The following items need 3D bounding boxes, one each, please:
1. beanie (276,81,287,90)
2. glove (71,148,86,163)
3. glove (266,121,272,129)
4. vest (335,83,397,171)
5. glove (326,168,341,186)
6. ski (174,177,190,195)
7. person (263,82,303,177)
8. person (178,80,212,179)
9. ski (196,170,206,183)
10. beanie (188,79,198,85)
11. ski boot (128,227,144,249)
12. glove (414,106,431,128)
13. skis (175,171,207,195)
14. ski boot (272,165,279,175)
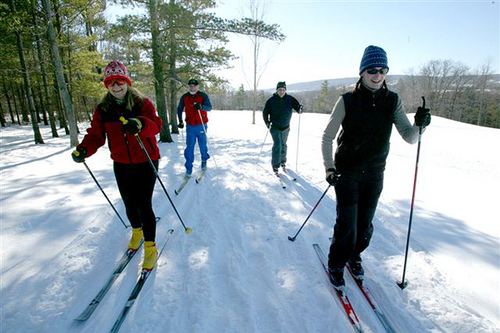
[{"bbox_3d":[1.014,-2.546,10.396,0.281,0.260,0.757,2,19,3],"label":"beanie"},{"bbox_3d":[-3.699,-0.229,7.120,0.275,0.365,0.310,-12,22,-33],"label":"glove"},{"bbox_3d":[0.622,-1.320,10.652,0.185,0.255,0.214,1,18,0],"label":"glove"},{"bbox_3d":[2.398,-0.808,6.798,1.110,1.688,0.662,4,18,12],"label":"vest"},{"bbox_3d":[1.743,0.221,6.862,0.301,0.359,0.176,4,18,10],"label":"glove"},{"bbox_3d":[-1.995,0.576,9.523,0.102,0.187,0.775,1,26,4],"label":"ski"},{"bbox_3d":[1.035,-1.282,10.721,1.060,2.825,0.840,-10,21,-30],"label":"person"},{"bbox_3d":[-1.727,-1.241,10.403,1.021,2.862,1.283,-2,18,-8],"label":"person"},{"bbox_3d":[-1.527,0.331,10.220,0.100,0.111,0.743,15,21,-1],"label":"ski"},{"bbox_3d":[-1.753,-2.601,10.149,0.264,0.170,0.207,-4,19,-15],"label":"beanie"},{"bbox_3d":[-2.623,1.620,7.461,0.213,0.276,0.653,-2,55,4],"label":"ski boot"},{"bbox_3d":[3.524,-1.008,6.683,0.284,0.422,0.141,2,9,7],"label":"glove"},{"bbox_3d":[-1.805,0.478,9.785,0.232,0.158,1.760,16,29,9],"label":"skis"},{"bbox_3d":[0.819,0.111,10.609,0.195,0.108,0.278,-1,20,-6],"label":"ski boot"}]
